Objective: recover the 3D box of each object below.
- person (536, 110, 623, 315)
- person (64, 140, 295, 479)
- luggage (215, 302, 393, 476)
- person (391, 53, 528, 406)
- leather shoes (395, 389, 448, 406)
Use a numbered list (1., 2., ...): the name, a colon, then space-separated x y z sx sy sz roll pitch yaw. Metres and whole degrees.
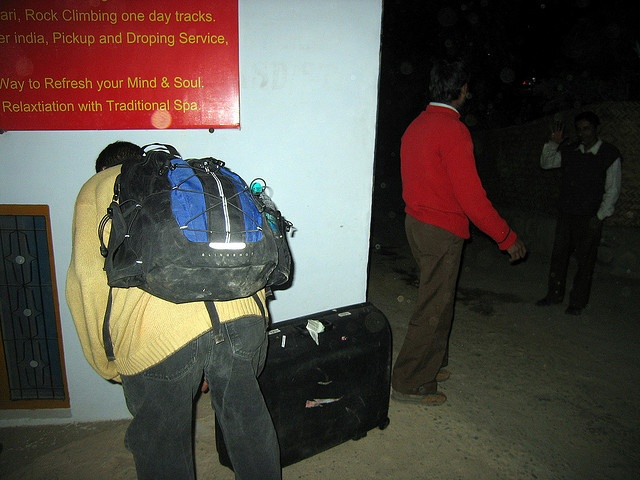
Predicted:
1. person: 2.954 -0.287 5.996 0.807 2.317 0.478 4 13 30
2. person: -1.181 0.476 3.492 0.913 2.521 0.636 -3 -7 -4
3. luggage: -0.067 1.129 4.120 1.312 1.133 0.485 -9 16 -31
4. person: 1.042 -0.017 4.397 0.919 2.897 0.452 -1 12 8
5. leather shoes: 0.883 1.376 4.595 0.442 0.183 0.163 -3 13 -1
